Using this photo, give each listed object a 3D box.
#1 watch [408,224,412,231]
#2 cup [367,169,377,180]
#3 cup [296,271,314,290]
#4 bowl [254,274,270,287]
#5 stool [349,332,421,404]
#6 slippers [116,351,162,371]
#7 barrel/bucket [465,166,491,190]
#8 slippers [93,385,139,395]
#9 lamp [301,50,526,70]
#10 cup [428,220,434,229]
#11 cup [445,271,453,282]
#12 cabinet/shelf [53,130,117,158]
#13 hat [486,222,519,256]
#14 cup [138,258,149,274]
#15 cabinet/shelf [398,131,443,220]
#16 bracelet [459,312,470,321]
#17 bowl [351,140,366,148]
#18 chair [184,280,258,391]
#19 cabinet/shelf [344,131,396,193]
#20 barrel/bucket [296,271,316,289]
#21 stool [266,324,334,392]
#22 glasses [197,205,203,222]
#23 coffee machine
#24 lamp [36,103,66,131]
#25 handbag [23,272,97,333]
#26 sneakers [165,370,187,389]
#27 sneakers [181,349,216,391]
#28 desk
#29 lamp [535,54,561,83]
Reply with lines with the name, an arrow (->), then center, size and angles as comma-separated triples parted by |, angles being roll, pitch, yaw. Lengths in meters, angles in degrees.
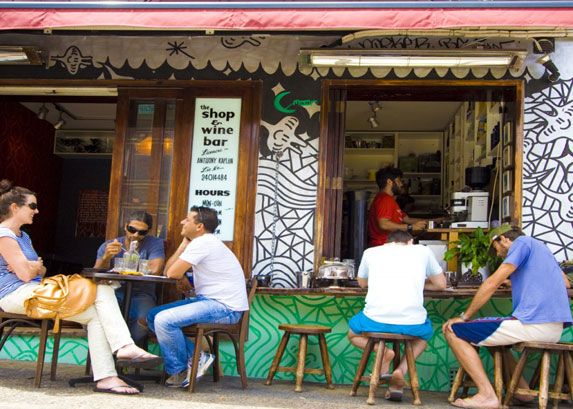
watch -> 1.614, 0.304, 7.113 | 0.062, 0.086, 0.084 | 1, 1, 0
cup -> 1.498, -0.526, 9.525 | 0.205, 0.195, 0.213 | 1, -2, 0
cup -> 0.198, 0.794, 5.816 | 0.178, 0.125, 0.160 | 4, -7, -19
bowl -> -0.257, 0.824, 5.879 | 0.158, 0.159, 0.188 | 5, -12, -30
stool -> 0.900, 1.452, 4.981 | 0.592, 0.639, 0.638 | 3, -5, 0
slippers -> -1.251, 1.288, 4.502 | 0.441, 0.123, 0.155 | -1, -10, 3
barrel/bucket -> 2.456, -0.323, 6.974 | 0.291, 0.231, 0.312 | 1, -8, 0
slippers -> -1.425, 1.537, 4.539 | 0.278, 0.053, 0.123 | -2, -9, 7
lamp -> 1.400, -1.552, 5.912 | 2.310, 0.158, 0.203 | 2, -4, 2
cup -> 1.819, 0.247, 6.871 | 0.087, 0.087, 0.093 | 1, -7, 0
cup -> 1.696, 0.751, 5.687 | 0.081, 0.089, 0.094 | 3, -1, -24
cabinet/shelf -> -3.458, -1.101, 9.697 | 1.248, 0.415, 0.315 | 3, 2, 14
hat -> 2.048, 0.310, 5.295 | 0.357, 0.183, 0.315 | -38, -17, 27
cup -> -1.303, 0.566, 4.971 | 0.120, 0.111, 0.095 | -2, -6, 21
cabinet/shelf -> 2.572, -0.489, 9.485 | 0.587, 1.696, 0.861 | -5, 2, -20
bracelet -> 1.636, 1.016, 4.986 | 0.097, 0.046, 0.057 | -8, 13, -43
bowl -> 1.331, -1.074, 9.806 | 0.253, 0.150, 0.070 | 2, -5, 0
chair -> -0.713, 1.187, 5.136 | 0.721, 0.871, 0.648 | 13, -13, -43
cabinet/shelf -> 1.409, -0.877, 9.787 | 0.993, 0.822, 0.327 | -2, 7, -15
barrel/bucket -> 0.208, 0.798, 5.835 | 0.189, 0.127, 0.166 | 2, -7, -8
stool -> 0.205, 1.479, 5.502 | 0.679, 0.681, 0.690 | -2, -13, 22
glasses -> -0.844, 0.078, 5.211 | 0.050, 0.115, 0.118 | 1, 11, 11
coffee machine -> 2.356, -0.091, 6.998 | 0.489, 0.786, 0.570 | 1, -5, 19
lamp -> -3.739, -1.372, 8.688 | 0.354, 0.405, 1.419 | 5, -5, -23
handbag -> -1.861, 0.757, 4.602 | 0.592, 0.207, 0.413 | 4, 33, -20
sneakers -> -0.993, 1.587, 4.956 | 0.263, 0.103, 0.097 | 3, -4, 7
sneakers -> -0.819, 1.426, 4.890 | 0.165, 0.180, 0.450 | 5, 29, 25
desk -> 1.847, 0.516, 6.042 | 0.687, 0.445, 0.649 | -1, -2, 3
lamp -> 2.885, -1.494, 5.993 | 0.234, 0.250, 0.386 | 0, -5, 26
